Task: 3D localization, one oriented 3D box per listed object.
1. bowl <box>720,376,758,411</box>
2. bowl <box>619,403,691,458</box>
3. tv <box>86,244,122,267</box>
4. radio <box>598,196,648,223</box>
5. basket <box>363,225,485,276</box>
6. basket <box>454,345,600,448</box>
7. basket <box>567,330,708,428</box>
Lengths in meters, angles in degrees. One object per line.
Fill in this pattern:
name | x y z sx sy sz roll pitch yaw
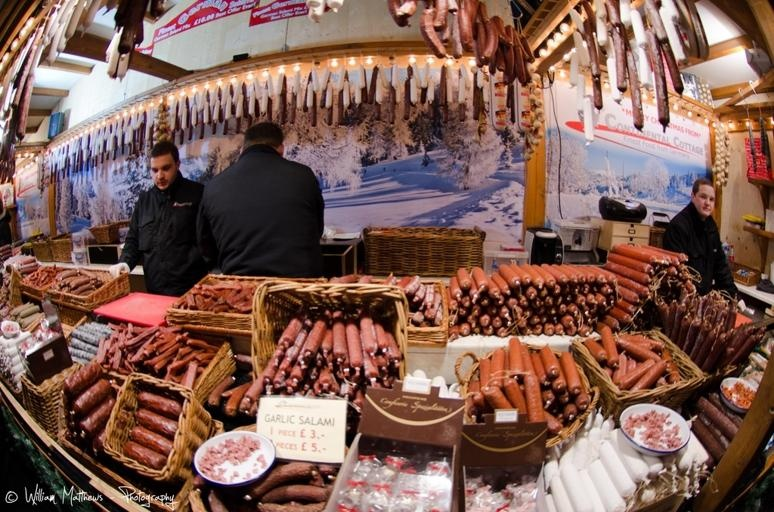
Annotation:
bowl | 2.347 0.923 3.101 0.207 0.088 0.221 1 16 0
bowl | 1.661 1.069 2.906 0.355 0.378 0.134 -7 17 -14
tv | -2.790 -0.012 4.558 0.321 0.239 0.178 0 0 -38
radio | 2.718 -0.581 5.249 0.427 0.248 0.322 -7 19 -32
basket | 0.370 -0.059 5.086 0.935 0.377 0.672 2 8 5
basket | 0.914 0.855 3.006 0.661 0.257 0.684 -6 30 -15
basket | 1.755 0.837 3.102 0.612 0.235 0.496 -9 24 -19
